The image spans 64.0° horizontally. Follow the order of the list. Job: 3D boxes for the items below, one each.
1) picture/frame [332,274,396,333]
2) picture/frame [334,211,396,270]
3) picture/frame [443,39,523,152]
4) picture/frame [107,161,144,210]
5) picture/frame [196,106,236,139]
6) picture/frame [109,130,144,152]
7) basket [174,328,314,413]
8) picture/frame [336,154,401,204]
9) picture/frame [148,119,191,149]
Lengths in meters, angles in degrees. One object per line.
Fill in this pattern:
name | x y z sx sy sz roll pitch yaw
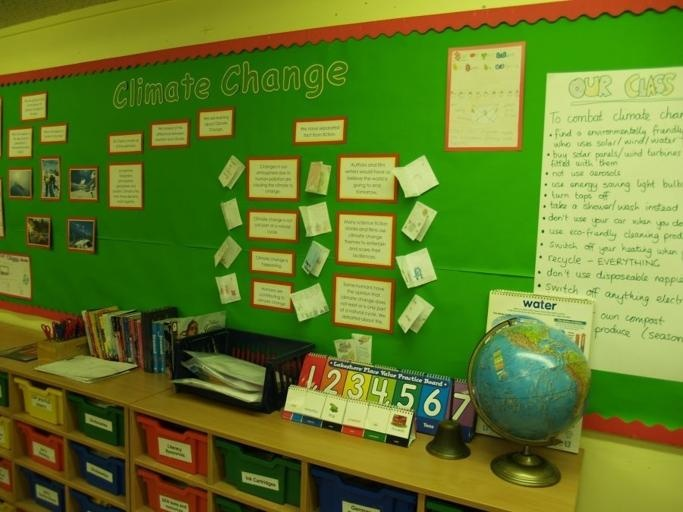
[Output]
picture/frame | 0.119 0.218 2.551 0.258 0.225 0.027 4 5 23
picture/frame | 0.123 -0.075 2.537 0.252 0.227 0.027 4 6 23
picture/frame | 0.614 -0.684 2.308 0.451 0.606 0.023 3 5 25
picture/frame | -1.238 -0.403 3.152 0.269 0.279 0.025 3 3 21
picture/frame | -0.652 -0.693 2.851 0.227 0.142 0.032 6 9 31
picture/frame | -1.237 -0.647 3.125 0.270 0.112 0.010 5 8 27
basket | -0.451 0.508 2.640 0.502 0.208 0.364 9 7 28
picture/frame | 0.139 -0.357 2.518 0.220 0.168 0.023 4 7 25
picture/frame | -0.938 -0.665 2.984 0.269 0.129 0.051 7 9 34
